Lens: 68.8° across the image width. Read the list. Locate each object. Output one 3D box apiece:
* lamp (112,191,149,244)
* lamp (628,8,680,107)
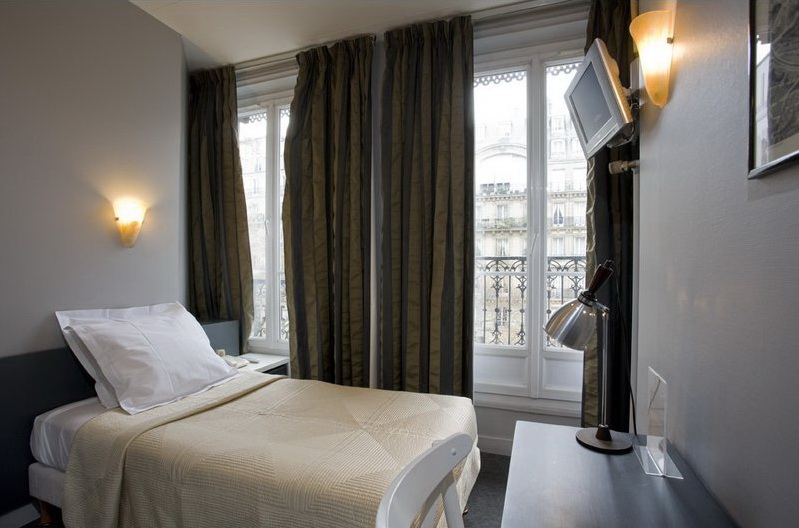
[{"bbox_3d":[-1.879,-0.338,4.019,0.262,0.389,0.284,6,13,-26],"label":"lamp"},{"bbox_3d":[1.281,-1.060,2.955,0.205,0.517,0.191,4,13,23],"label":"lamp"}]
